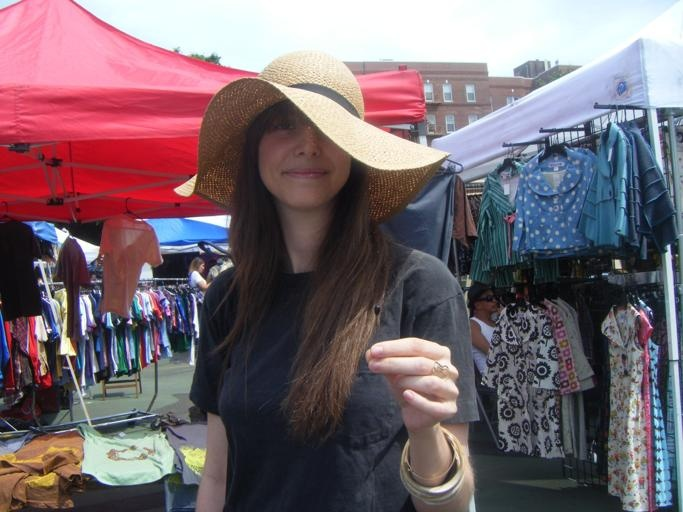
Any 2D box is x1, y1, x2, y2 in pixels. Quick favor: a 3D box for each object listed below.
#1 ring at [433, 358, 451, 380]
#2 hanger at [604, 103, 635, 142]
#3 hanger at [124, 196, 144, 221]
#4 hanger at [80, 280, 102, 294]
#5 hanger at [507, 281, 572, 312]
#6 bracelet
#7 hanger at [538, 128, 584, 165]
[{"bbox_3d":[0.401,0.452,2.334,0.070,0.052,0.026,26,-22,-1],"label":"ring"},{"bbox_3d":[2.430,-1.160,5.033,0.227,0.319,0.779,4,11,34],"label":"hanger"},{"bbox_3d":[-2.455,-0.560,6.907,0.057,0.246,0.238,7,6,41],"label":"hanger"},{"bbox_3d":[-3.127,0.397,7.312,0.224,0.086,0.224,-1,0,-7],"label":"hanger"},{"bbox_3d":[2.034,0.370,5.833,0.384,0.099,0.349,1,-7,-2],"label":"hanger"},{"bbox_3d":[0.386,0.880,2.418,0.266,0.230,0.048,-3,-2,2],"label":"bracelet"},{"bbox_3d":[1.999,-1.017,5.307,0.357,0.248,0.389,-2,3,32],"label":"hanger"}]
